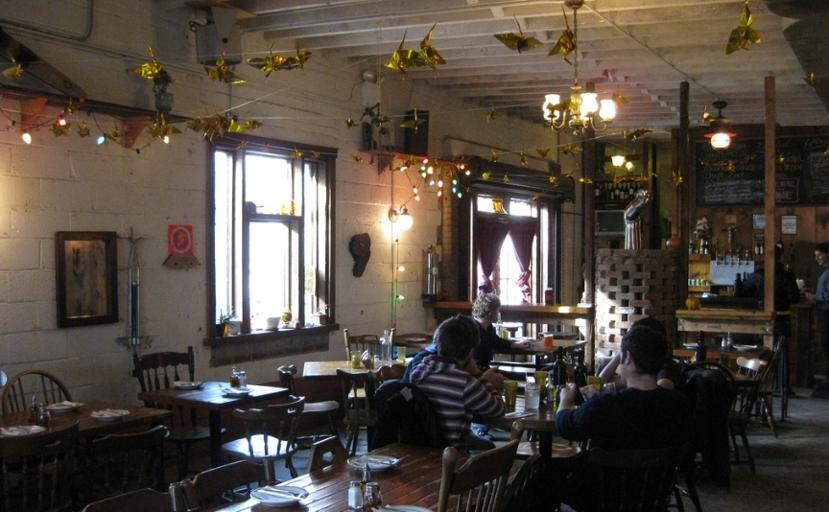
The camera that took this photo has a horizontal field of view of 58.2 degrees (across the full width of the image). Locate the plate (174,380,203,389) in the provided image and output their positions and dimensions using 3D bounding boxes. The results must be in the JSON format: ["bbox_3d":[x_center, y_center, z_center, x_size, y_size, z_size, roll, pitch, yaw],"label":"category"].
[{"bbox_3d":[-2.282,1.293,7.475,0.189,0.046,0.134,2,3,-3],"label":"plate"}]

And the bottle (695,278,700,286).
[{"bbox_3d":[5.020,0.443,13.151,0.085,0.088,0.116,-3,-4,36],"label":"bottle"}]

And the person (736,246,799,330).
[{"bbox_3d":[5.260,0.562,10.951,0.782,1.649,0.537,2,32,23],"label":"person"}]

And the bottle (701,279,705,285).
[{"bbox_3d":[5.126,0.452,13.197,0.122,0.104,0.236,-2,-3,25],"label":"bottle"}]

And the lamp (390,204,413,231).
[{"bbox_3d":[-0.168,-0.556,10.435,0.308,0.385,0.315,-2,-3,43],"label":"lamp"}]

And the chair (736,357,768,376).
[{"bbox_3d":[3.805,1.239,8.370,0.214,0.302,0.224,-6,-25,36],"label":"chair"}]

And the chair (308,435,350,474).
[{"bbox_3d":[-0.680,1.525,5.573,0.235,0.210,0.329,-12,0,31],"label":"chair"}]

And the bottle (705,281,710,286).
[{"bbox_3d":[5.211,0.459,13.195,0.065,0.090,0.234,-2,-3,19],"label":"bottle"}]

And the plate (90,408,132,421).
[{"bbox_3d":[-2.730,1.415,6.688,0.342,0.062,0.326,0,-3,-7],"label":"plate"}]

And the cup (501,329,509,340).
[{"bbox_3d":[1.161,0.980,9.353,0.092,0.158,0.095,-3,5,0],"label":"cup"}]

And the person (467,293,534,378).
[{"bbox_3d":[0.849,1.012,8.371,0.868,1.118,0.826,-3,3,8],"label":"person"}]

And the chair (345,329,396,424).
[{"bbox_3d":[-0.493,1.286,8.649,0.740,1.326,0.830,1,-5,-17],"label":"chair"}]

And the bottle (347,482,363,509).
[{"bbox_3d":[-0.373,1.543,4.801,0.096,0.175,0.052,-1,-3,0],"label":"bottle"}]

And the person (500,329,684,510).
[{"bbox_3d":[1.267,1.271,5.724,1.398,1.447,0.843,1,-3,-21],"label":"person"}]

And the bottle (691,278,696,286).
[{"bbox_3d":[4.942,0.457,13.166,0.136,0.118,0.145,-2,-3,19],"label":"bottle"}]

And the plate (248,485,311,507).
[{"bbox_3d":[-0.920,1.637,5.079,0.382,0.098,0.222,0,-3,-10],"label":"plate"}]

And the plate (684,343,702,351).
[{"bbox_3d":[3.336,1.080,8.898,0.192,0.042,0.195,-1,1,44],"label":"plate"}]

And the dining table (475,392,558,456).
[{"bbox_3d":[0.947,1.393,6.318,0.765,0.321,0.742,-1,-2,5],"label":"dining table"}]

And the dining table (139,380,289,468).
[{"bbox_3d":[-1.937,1.469,7.259,0.990,0.910,1.000,-4,-6,39],"label":"dining table"}]

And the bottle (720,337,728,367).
[{"bbox_3d":[3.752,1.144,8.981,0.070,0.277,0.285,1,8,18],"label":"bottle"}]
